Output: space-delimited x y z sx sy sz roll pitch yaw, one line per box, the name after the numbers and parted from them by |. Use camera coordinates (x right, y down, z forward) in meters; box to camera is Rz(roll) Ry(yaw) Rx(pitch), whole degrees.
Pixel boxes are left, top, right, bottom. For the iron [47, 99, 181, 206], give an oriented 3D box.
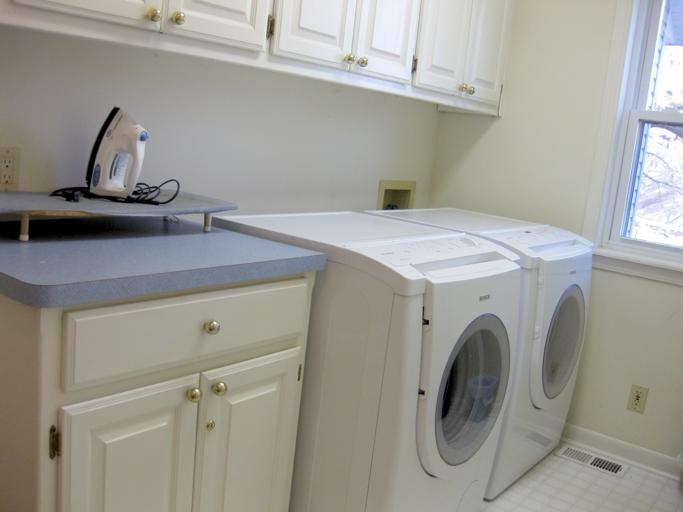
-0.724 -0.339 1.605 0.359 0.296 0.327 7 10 -15 | iron

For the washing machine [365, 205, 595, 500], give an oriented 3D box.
0.723 0.312 2.439 0.890 1.316 0.937 11 14 33 | washing machine
